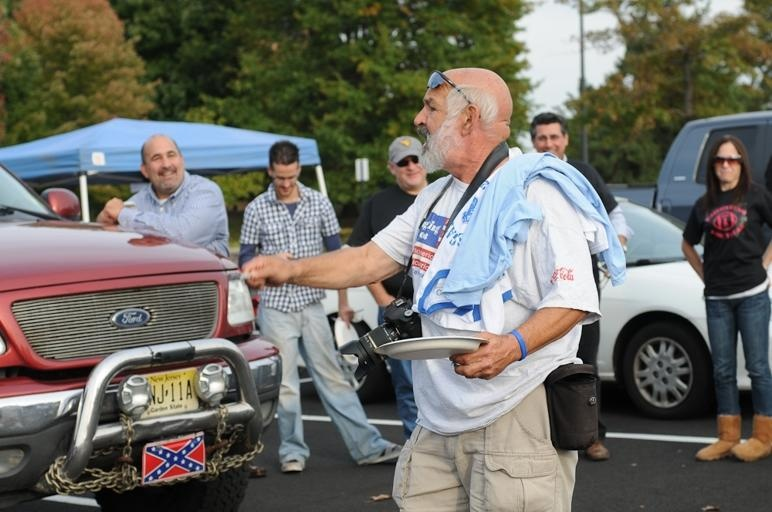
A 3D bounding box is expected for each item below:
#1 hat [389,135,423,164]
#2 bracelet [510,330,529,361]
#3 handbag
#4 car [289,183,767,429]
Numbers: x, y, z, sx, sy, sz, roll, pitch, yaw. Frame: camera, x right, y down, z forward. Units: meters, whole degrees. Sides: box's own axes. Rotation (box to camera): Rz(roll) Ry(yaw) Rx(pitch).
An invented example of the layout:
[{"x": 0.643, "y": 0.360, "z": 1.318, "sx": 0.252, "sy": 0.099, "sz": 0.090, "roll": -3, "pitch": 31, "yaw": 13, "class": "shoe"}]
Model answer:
[{"x": 0.172, "y": -0.915, "z": 8.593, "sx": 0.283, "sy": 0.232, "sz": 0.402, "roll": -3, "pitch": 5, "yaw": -3, "class": "hat"}, {"x": 0.745, "y": 0.477, "z": 5.506, "sx": 0.049, "sy": 0.143, "sz": 0.100, "roll": -18, "pitch": 7, "yaw": -18, "class": "bracelet"}, {"x": 1.072, "y": 0.830, "z": 5.942, "sx": 0.364, "sy": 0.646, "sz": 0.479, "roll": -2, "pitch": 0, "yaw": 7, "class": "handbag"}, {"x": 1.961, "y": 0.673, "z": 10.194, "sx": 3.506, "sy": 1.785, "sz": 1.839, "roll": -7, "pitch": -7, "yaw": 36, "class": "car"}]
